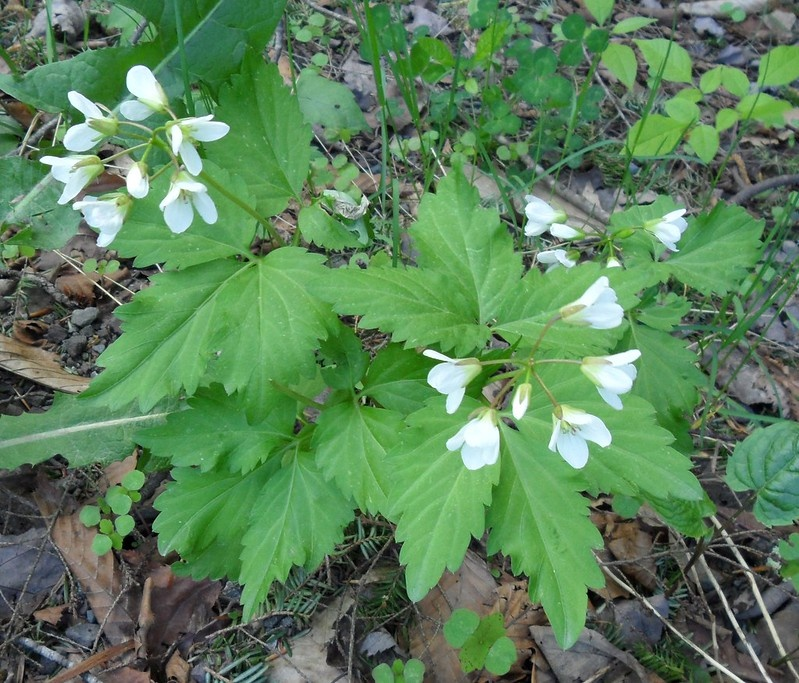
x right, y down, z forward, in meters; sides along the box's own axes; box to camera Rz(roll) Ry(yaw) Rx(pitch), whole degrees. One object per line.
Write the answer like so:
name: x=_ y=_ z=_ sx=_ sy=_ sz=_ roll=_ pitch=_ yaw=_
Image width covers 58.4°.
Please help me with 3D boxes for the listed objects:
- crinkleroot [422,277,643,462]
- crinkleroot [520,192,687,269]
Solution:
crinkleroot: x=0.455 y=0.147 z=2.940 sx=0.798 sy=0.317 sz=0.749 roll=29 pitch=86 yaw=3
crinkleroot: x=0.898 y=-0.482 z=3.165 sx=0.516 sy=0.132 sz=0.515 roll=14 pitch=28 yaw=13
